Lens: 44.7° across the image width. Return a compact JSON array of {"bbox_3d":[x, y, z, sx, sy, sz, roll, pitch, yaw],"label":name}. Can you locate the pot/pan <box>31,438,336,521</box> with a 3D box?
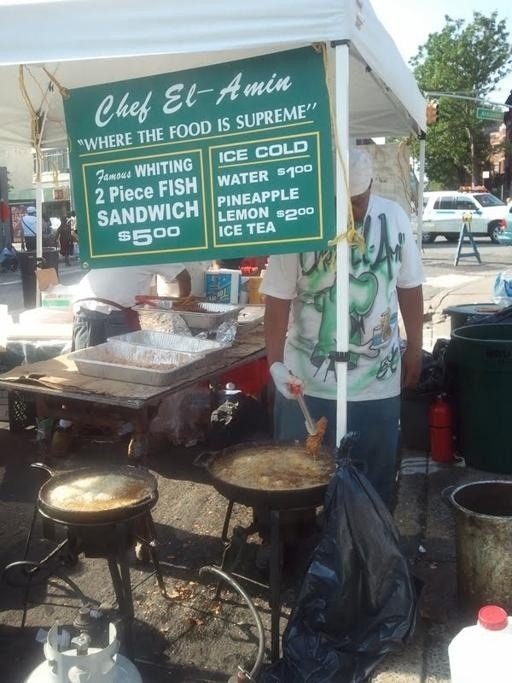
[{"bbox_3d":[-0.301,0.574,2.626,1.247,0.129,0.676,-4,8,4],"label":"pot/pan"}]

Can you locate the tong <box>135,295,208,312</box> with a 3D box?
[{"bbox_3d":[-0.604,-0.262,4.279,0.303,0.102,0.206,6,12,13],"label":"tong"}]

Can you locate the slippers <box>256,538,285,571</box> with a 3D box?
[{"bbox_3d":[0.060,0.862,2.450,0.114,0.157,0.046,9,5,21],"label":"slippers"}]

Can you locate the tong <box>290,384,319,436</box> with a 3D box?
[{"bbox_3d":[0.211,0.287,2.684,0.081,0.248,0.081,-30,-7,29],"label":"tong"}]

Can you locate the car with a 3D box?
[{"bbox_3d":[8.058,-4.905,24.286,5.011,2.447,2.795,1,9,26],"label":"car"}]

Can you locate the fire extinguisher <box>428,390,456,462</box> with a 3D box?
[{"bbox_3d":[1.387,0.656,4.668,0.158,0.499,0.160,-9,8,-29],"label":"fire extinguisher"}]
